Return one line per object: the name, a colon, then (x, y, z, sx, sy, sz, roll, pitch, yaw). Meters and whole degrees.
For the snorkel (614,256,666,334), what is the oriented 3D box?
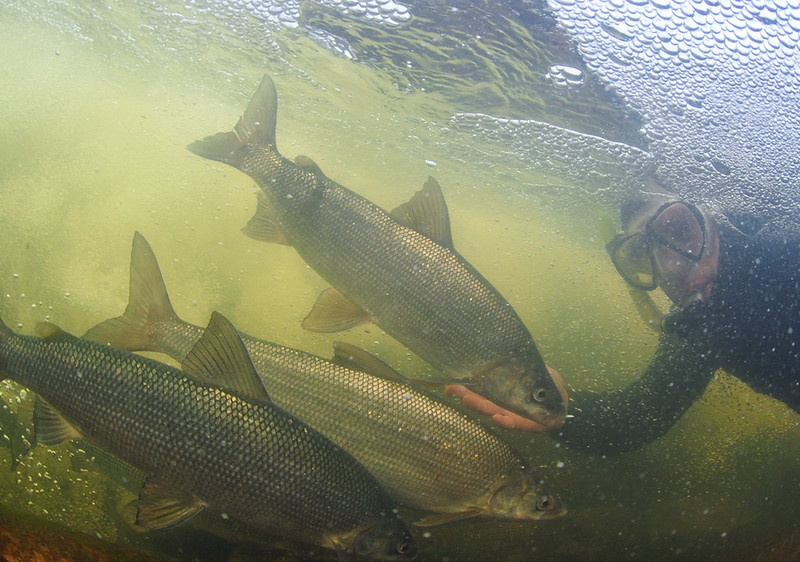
snorkel: (1.520, 0.068, 4.963, 0.153, 0.115, 0.623, -31, 80, -7)

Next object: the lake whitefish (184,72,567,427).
lake whitefish: (-0.216, -0.126, 4.785, 2.329, 0.839, 1.043, 36, 83, 1)
